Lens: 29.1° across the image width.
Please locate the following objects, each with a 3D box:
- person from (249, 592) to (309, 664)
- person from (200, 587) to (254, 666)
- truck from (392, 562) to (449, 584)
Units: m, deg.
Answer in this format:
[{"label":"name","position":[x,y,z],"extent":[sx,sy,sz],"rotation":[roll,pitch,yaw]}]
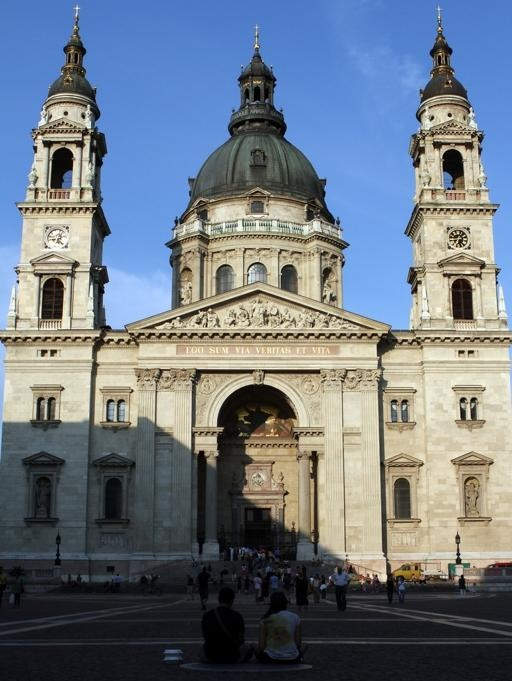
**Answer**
[{"label":"person","position":[0.279,4.375,15.170],"extent":[0.891,1.084,1.163],"rotation":[3,-9,-8]},{"label":"person","position":[-0.403,4.265,14.690],"extent":[0.751,1.120,0.939],"rotation":[1,-14,-1]},{"label":"truck","position":[9.173,12.944,54.917],"extent":[2.884,1.180,5.037],"rotation":[-2,-14,10]}]
